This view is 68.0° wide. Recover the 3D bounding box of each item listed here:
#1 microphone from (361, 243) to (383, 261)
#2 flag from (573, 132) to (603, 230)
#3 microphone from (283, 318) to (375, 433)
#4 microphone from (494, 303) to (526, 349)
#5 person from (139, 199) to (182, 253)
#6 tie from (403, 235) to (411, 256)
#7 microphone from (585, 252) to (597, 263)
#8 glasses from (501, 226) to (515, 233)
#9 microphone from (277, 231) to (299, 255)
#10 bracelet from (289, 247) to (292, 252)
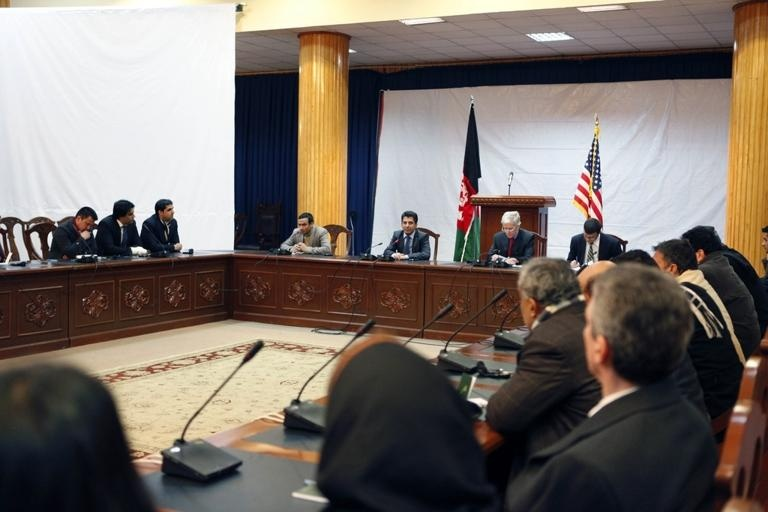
[{"bbox_3d":[-0.163,-0.040,7.074,0.214,0.183,0.408,1,5,24],"label":"microphone"},{"bbox_3d":[3.036,-1.180,8.371,0.338,1.271,0.676,1,6,7],"label":"flag"},{"bbox_3d":[-0.263,0.485,2.312,0.212,0.372,0.196,6,5,13],"label":"microphone"},{"bbox_3d":[0.789,0.482,3.659,0.126,0.201,0.167,-4,5,-11],"label":"microphone"},{"bbox_3d":[-3.005,-0.366,7.711,0.521,0.802,0.568,4,7,10],"label":"person"},{"bbox_3d":[0.302,-0.157,7.616,0.119,0.229,0.052,-3,-11,22],"label":"tie"},{"bbox_3d":[2.527,0.013,6.958,0.028,0.127,0.088,12,-12,-42],"label":"microphone"},{"bbox_3d":[1.515,-0.320,7.050,0.123,0.104,0.298,0,6,-8],"label":"glasses"},{"bbox_3d":[-1.312,-0.158,7.771,0.158,0.138,0.462,7,28,14],"label":"microphone"},{"bbox_3d":[-1.258,-0.090,7.626,0.040,0.050,0.109,0,6,-10],"label":"bracelet"}]
